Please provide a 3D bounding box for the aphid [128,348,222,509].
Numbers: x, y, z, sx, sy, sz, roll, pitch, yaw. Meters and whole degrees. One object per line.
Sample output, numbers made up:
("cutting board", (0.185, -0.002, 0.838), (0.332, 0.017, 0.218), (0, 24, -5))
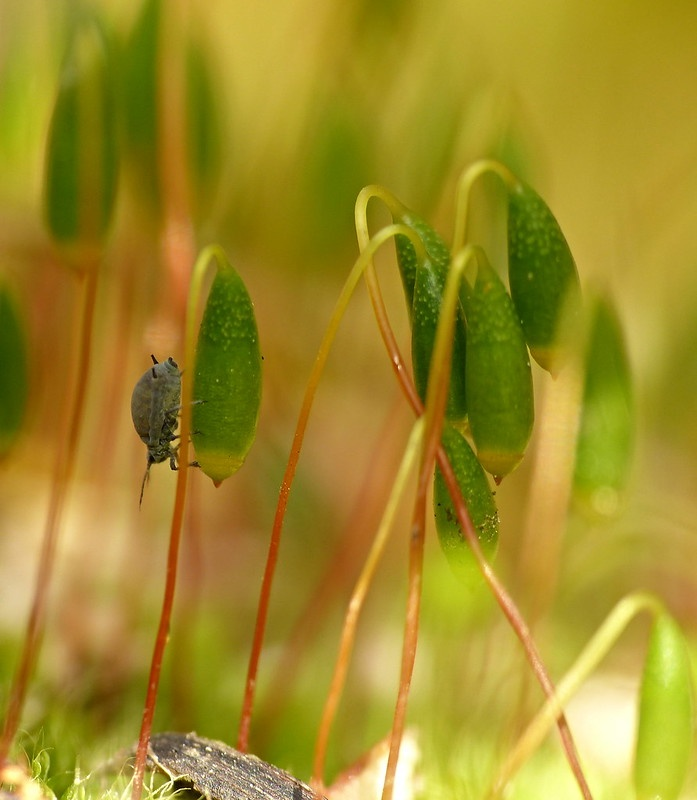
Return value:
("aphid", (-0.106, 0.012, 0.493), (0.022, 0.072, 0.072), (3, 12, -23))
